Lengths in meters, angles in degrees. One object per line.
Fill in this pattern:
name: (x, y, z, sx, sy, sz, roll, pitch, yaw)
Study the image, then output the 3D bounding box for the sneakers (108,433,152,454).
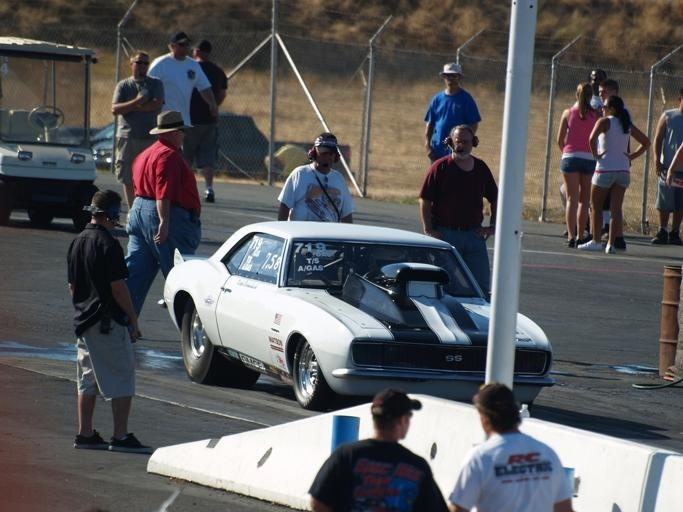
sneakers: (-2.108, 1.836, 16.995, 0.438, 0.212, 0.187, 2, -2, -5)

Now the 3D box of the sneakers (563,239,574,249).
sneakers: (3.558, -0.229, 26.452, 0.116, 0.099, 0.221, 1, 5, -6)

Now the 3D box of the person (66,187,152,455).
person: (-2.382, 0.610, 17.154, 0.777, 2.524, 0.816, 1, 6, -9)

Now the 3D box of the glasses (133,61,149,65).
glasses: (-2.791, -2.758, 23.823, 0.127, 0.065, 0.304, 6, 8, 27)

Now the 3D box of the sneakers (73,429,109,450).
sneakers: (-2.515, 1.822, 17.015, 0.352, 0.167, 0.147, 3, -1, -15)

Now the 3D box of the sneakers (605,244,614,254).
sneakers: (4.121, -0.155, 26.031, 0.107, 0.134, 0.303, 1, 6, 13)

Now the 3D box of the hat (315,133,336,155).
hat: (-0.182, -1.387, 20.322, 0.281, 0.251, 0.612, 2, 7, 0)

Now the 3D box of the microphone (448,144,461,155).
microphone: (1.355, -1.291, 20.066, 0.079, 0.042, 0.111, 16, 7, -31)

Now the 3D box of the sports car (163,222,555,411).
sports car: (-0.045, 0.608, 18.712, 3.720, 1.870, 1.868, 8, 9, 35)

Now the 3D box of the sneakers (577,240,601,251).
sneakers: (3.816, -0.207, 26.101, 0.363, 0.174, 0.131, 3, 1, 2)

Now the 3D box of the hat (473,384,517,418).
hat: (1.339, 1.235, 14.714, 0.303, 0.211, 0.436, 2, 7, 4)

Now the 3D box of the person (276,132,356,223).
person: (-0.289, -0.968, 20.236, 0.857, 1.048, 0.350, 2, 6, -2)

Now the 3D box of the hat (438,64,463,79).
hat: (1.471, -2.514, 22.679, 0.248, 0.119, 0.319, -1, 0, -4)
